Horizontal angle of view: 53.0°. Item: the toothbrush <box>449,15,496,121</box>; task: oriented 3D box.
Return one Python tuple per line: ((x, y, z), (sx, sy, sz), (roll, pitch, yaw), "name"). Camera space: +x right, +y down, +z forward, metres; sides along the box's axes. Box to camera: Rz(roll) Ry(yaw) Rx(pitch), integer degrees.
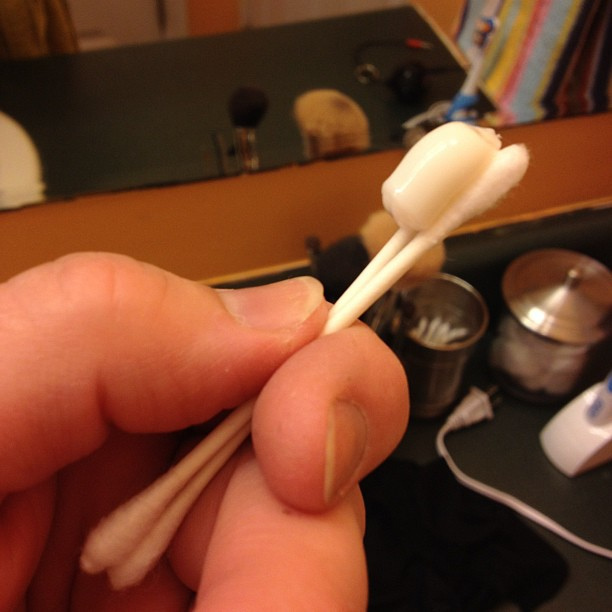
((0.132, -0.192, 0.504), (0.030, 0.083, 0.013), (-26, 48, -26), "toothbrush")
